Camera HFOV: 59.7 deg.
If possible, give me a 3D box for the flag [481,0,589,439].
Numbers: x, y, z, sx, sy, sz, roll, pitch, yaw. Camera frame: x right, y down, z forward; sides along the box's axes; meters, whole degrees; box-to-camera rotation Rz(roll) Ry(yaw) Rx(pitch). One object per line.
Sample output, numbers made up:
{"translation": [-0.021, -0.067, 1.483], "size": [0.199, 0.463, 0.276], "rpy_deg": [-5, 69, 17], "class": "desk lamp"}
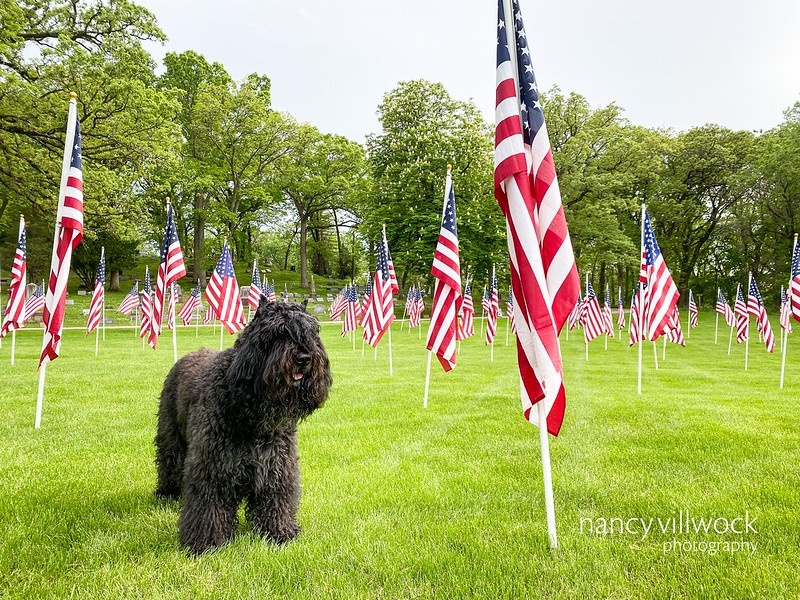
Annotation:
{"translation": [2.734, -1.687, 14.199], "size": [1.298, 8.769, 2.386], "rpy_deg": [-3, 13, -16], "class": "flag"}
